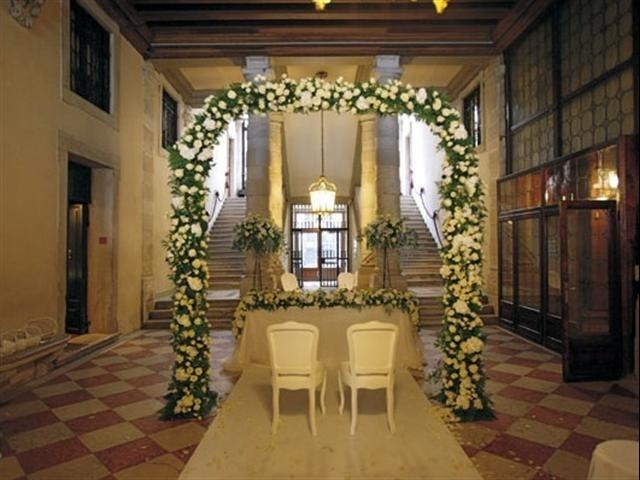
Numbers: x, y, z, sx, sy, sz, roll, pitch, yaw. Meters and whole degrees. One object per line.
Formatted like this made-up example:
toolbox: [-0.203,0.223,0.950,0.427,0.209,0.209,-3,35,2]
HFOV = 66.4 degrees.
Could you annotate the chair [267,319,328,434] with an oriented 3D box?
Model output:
chair: [-0.295,1.613,5.804,0.643,1.276,0.810,-2,-7,11]
